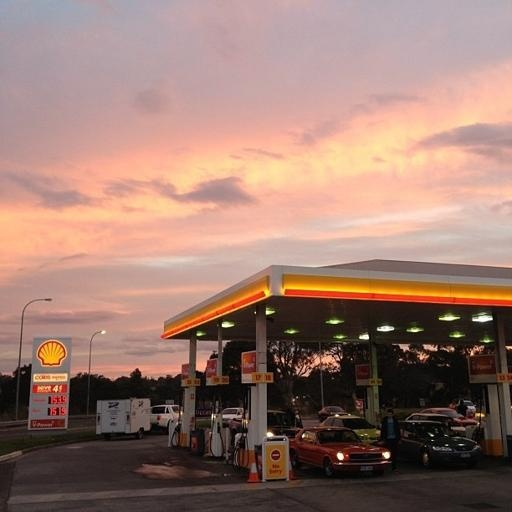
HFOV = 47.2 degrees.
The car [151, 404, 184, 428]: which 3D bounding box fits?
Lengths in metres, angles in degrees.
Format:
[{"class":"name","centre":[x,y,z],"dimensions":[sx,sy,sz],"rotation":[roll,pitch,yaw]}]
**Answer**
[{"class":"car","centre":[-6.218,10.942,39.705],"dimensions":[1.759,1.609,1.875],"rotation":[1,-16,-10]}]

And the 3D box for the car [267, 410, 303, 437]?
[{"class":"car","centre":[1.094,6.465,22.574],"dimensions":[1.331,0.846,1.943],"rotation":[3,-23,-10]}]

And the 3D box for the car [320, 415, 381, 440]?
[{"class":"car","centre":[3.678,6.397,21.892],"dimensions":[1.010,0.604,2.090],"rotation":[5,-15,-19]}]

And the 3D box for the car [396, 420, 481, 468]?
[{"class":"car","centre":[5.660,5.887,18.321],"dimensions":[1.348,0.725,2.606],"rotation":[3,-16,-15]}]

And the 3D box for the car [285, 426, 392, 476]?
[{"class":"car","centre":[2.479,5.813,17.487],"dimensions":[1.912,1.315,3.396],"rotation":[4,-16,-21]}]
